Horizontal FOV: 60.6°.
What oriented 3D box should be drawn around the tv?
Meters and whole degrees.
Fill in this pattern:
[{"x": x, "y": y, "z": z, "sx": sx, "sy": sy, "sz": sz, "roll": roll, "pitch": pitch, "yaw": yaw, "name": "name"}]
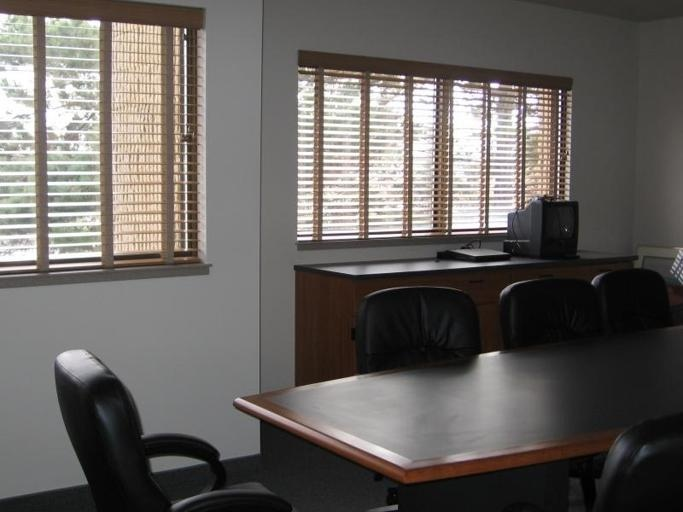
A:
[{"x": 1.591, "y": -0.209, "z": 4.738, "sx": 0.479, "sy": 0.488, "sz": 0.480, "roll": -3, "pitch": 4, "yaw": -29, "name": "tv"}]
